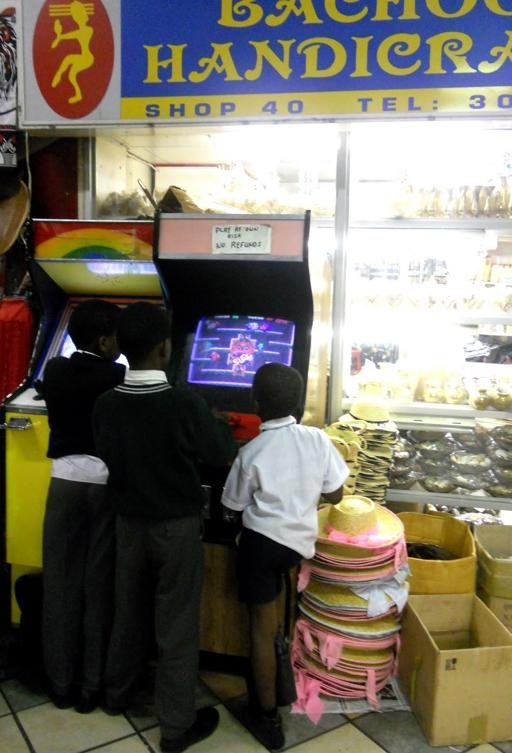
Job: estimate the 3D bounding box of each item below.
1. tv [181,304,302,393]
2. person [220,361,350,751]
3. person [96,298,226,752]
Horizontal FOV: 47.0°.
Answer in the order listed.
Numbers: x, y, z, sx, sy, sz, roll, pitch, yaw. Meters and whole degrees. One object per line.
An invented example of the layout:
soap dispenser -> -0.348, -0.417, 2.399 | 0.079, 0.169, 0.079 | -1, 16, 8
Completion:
tv -> -0.068, -0.115, 2.278 | 0.475, 0.340, 0.264 | 5, -6, 9
person -> 0.080, 0.558, 1.870 | 0.401, 1.185, 0.278 | 2, 10, 0
person -> -0.319, 0.558, 1.881 | 0.417, 1.178, 0.256 | 10, 13, 38
